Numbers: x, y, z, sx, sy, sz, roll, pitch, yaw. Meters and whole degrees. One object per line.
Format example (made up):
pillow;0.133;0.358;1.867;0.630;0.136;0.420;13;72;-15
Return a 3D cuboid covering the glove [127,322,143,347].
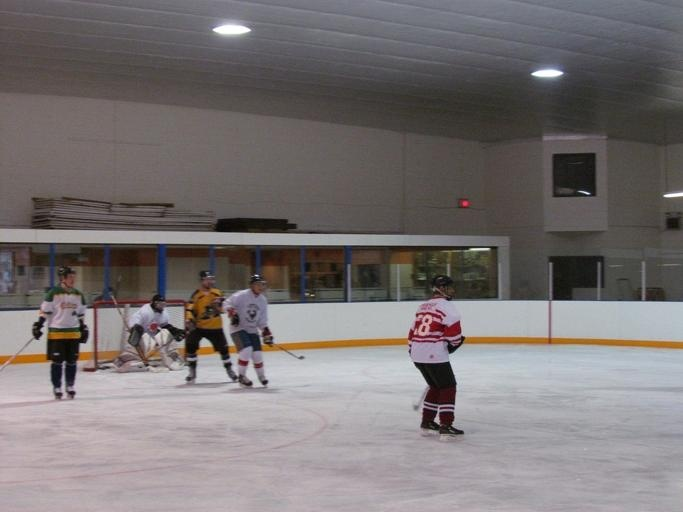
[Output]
glove;-2.921;1.144;11.700;0.209;0.374;0.386;0;3;-11

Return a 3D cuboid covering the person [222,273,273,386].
person;-1.200;0.964;10.509;0.596;1.450;0.519;0;4;-8

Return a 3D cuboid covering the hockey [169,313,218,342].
hockey;-2.236;1.074;11.876;0.730;0.270;0.212;18;-11;19

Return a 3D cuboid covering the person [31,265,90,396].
person;-3.319;0.919;9.727;0.596;1.573;0.475;0;4;-10

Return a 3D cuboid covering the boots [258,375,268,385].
boots;-1.023;1.615;10.608;0.143;0.104;0.373;-1;-6;-12

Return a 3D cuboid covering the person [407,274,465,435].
person;0.925;0.977;8.005;0.540;1.556;0.376;1;4;5

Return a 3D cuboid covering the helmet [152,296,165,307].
helmet;-2.606;0.636;11.649;0.167;0.177;0.240;-1;3;-16

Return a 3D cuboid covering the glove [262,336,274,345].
glove;-0.942;1.097;10.554;0.143;0.064;0.176;1;-16;-1

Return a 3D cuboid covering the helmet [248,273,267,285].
helmet;-1.143;0.298;10.338;0.358;0.157;0.238;-1;0;6

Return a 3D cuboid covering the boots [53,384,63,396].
boots;-3.361;1.618;9.745;0.075;0.086;0.212;-1;3;-19
